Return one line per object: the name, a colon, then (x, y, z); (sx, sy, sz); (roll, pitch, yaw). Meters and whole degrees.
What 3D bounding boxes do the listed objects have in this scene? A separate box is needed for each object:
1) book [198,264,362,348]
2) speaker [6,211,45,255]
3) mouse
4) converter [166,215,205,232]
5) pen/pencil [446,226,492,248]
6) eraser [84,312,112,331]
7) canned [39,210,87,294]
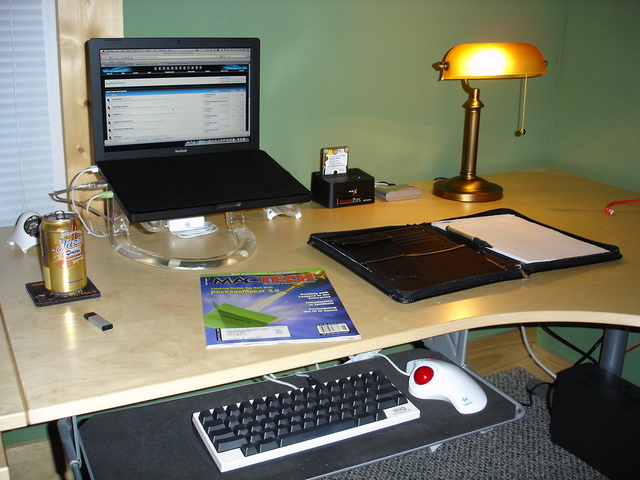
book: (-0.097, 0.139, 1.054); (0.295, 0.055, 0.269); (-3, 16, -13)
speaker: (-0.740, -0.013, 1.253); (0.087, 0.103, 0.086); (20, 23, 20)
mouse: (0.304, 0.342, 1.190); (0.119, 0.049, 0.164); (-15, 26, -37)
converter: (-0.372, -0.043, 1.387); (0.064, 0.013, 0.057); (-7, 27, -18)
pen/pencil: (0.390, -0.005, 1.312); (0.110, 0.015, 0.015); (26, 59, 35)
eraser: (-0.435, 0.159, 0.974); (0.025, 0.013, 0.086); (-17, 29, -38)
canned: (-0.541, 0.031, 1.045); (0.100, 0.201, 0.090); (-1, 36, -19)
